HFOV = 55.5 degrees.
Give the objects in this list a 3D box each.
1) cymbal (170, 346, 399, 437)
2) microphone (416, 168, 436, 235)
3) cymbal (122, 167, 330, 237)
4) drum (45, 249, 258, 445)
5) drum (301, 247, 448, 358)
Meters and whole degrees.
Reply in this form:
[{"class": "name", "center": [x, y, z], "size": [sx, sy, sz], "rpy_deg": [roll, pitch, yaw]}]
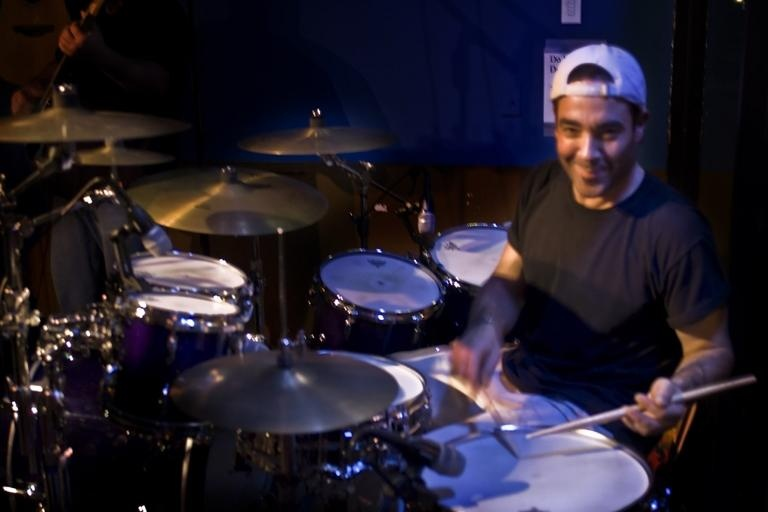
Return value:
[{"class": "cymbal", "center": [-0.374, 0.487, 2.644], "size": [0.467, 0.117, 0.475], "rpy_deg": [1, 16, -6]}, {"class": "microphone", "center": [0.253, -0.318, 4.319], "size": [0.088, 0.395, 0.221], "rpy_deg": [3, 2, 2]}, {"class": "cymbal", "center": [-0.782, -0.281, 3.865], "size": [0.579, 0.140, 0.597], "rpy_deg": [28, 25, 33]}, {"class": "drum", "center": [-1.060, 0.487, 3.502], "size": [0.823, 0.646, 0.813], "rpy_deg": [17, 25, -8]}, {"class": "drum", "center": [-0.036, 0.237, 3.854], "size": [0.688, 0.508, 0.560], "rpy_deg": [3, 2, -4]}]
